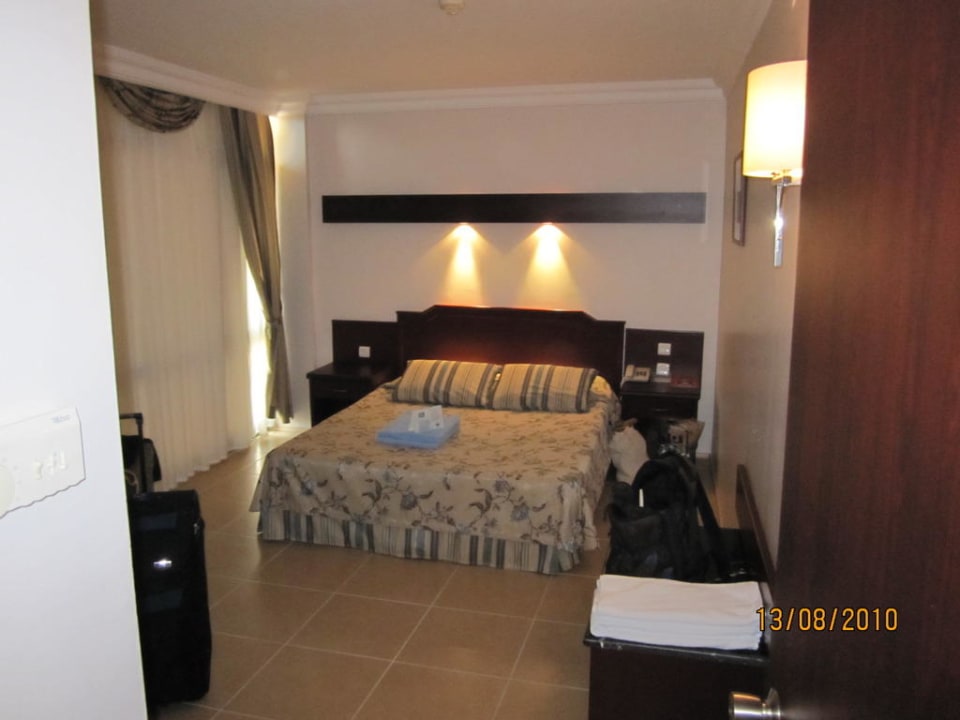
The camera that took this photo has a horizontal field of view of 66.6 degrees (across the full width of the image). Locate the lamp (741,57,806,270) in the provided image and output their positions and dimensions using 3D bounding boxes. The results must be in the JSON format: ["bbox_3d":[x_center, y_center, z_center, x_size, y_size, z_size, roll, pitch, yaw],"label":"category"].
[{"bbox_3d":[0.905,-0.570,2.194,0.225,0.557,0.205,6,11,31],"label":"lamp"}]

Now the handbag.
[{"bbox_3d":[0.712,0.585,2.827,0.357,0.234,0.501,0,5,17],"label":"handbag"}]

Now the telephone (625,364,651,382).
[{"bbox_3d":[1.158,0.100,5.387,0.123,0.046,0.140,0,42,22],"label":"telephone"}]

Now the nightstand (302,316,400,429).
[{"bbox_3d":[-0.982,0.190,5.915,0.674,0.927,0.576,2,14,-4],"label":"nightstand"}]

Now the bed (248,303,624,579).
[{"bbox_3d":[-0.116,0.345,4.855,1.984,1.091,2.054,3,13,15],"label":"bed"}]

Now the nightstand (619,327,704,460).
[{"bbox_3d":[1.323,0.282,5.326,0.553,1.000,0.479,3,10,16],"label":"nightstand"}]

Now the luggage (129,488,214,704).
[{"bbox_3d":[-1.192,0.936,2.868,0.265,0.740,0.328,-7,14,-24],"label":"luggage"}]
